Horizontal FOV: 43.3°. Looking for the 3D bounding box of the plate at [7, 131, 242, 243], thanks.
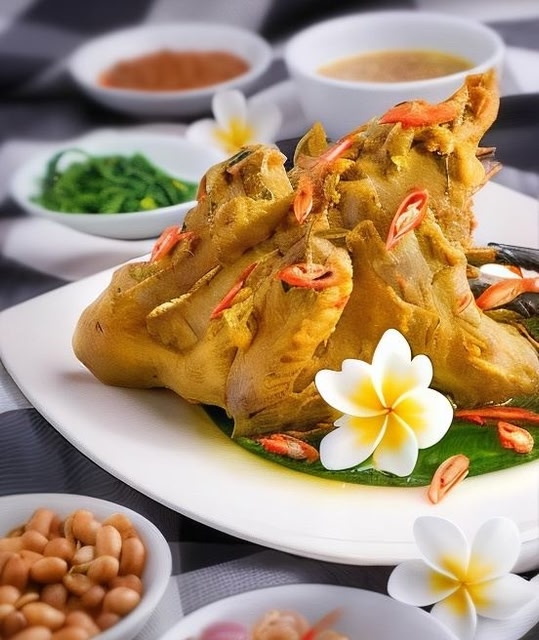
[{"bbox_3d":[-0.746,-0.769,3.732,1.094,0.212,0.861,4,32,7],"label":"plate"}]
